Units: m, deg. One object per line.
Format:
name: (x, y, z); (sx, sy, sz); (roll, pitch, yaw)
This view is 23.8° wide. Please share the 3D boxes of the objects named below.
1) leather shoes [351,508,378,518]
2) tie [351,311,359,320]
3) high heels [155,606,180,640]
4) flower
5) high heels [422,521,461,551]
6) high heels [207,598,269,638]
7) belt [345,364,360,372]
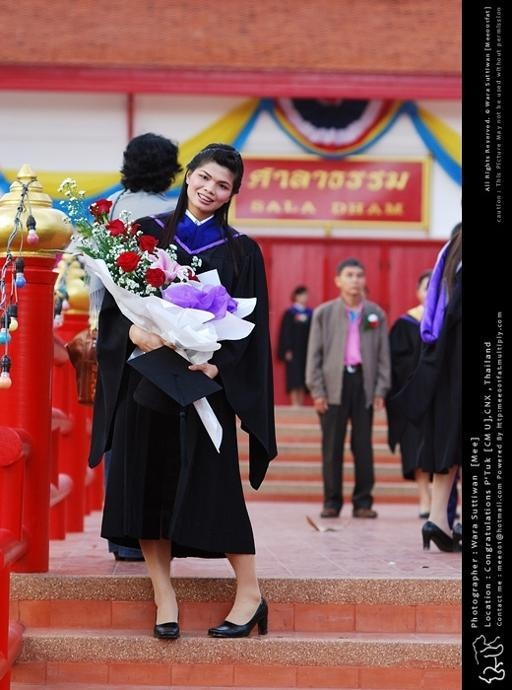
leather shoes: (0.633, 0.967, 6.960); (0.057, 0.064, 0.144); (5, -11, -41)
tie: (0.574, -0.177, 7.034); (0.043, 0.053, 0.019); (-3, -31, 11)
high heels: (-0.323, 1.002, 4.360); (0.090, 0.119, 0.142); (0, 8, -5)
flower: (-0.337, -0.262, 4.275); (0.695, 0.642, 0.312); (-1, 8, -8)
high heels: (0.821, 0.847, 5.301); (0.078, 0.101, 0.231); (-8, -13, 41)
high heels: (-0.052, 1.008, 4.410); (0.258, 0.137, 0.104); (3, -9, -17)
belt: (0.561, 0.131, 6.944); (0.046, 0.034, 0.046); (5, 4, 26)
